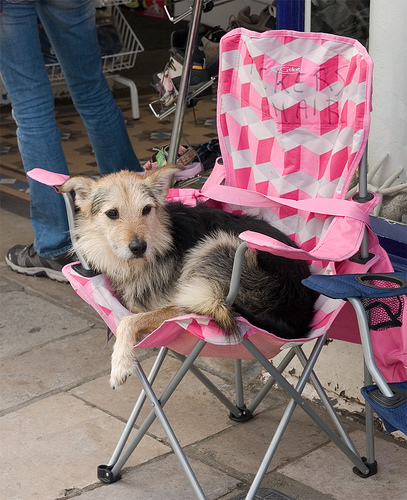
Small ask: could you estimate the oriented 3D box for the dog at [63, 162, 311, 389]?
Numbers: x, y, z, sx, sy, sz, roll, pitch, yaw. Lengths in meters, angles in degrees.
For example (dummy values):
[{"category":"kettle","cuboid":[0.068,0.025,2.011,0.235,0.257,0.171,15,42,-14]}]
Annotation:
[{"category":"dog","cuboid":[-0.004,0.113,1.799,0.937,0.384,0.806,-7,18,5]}]
